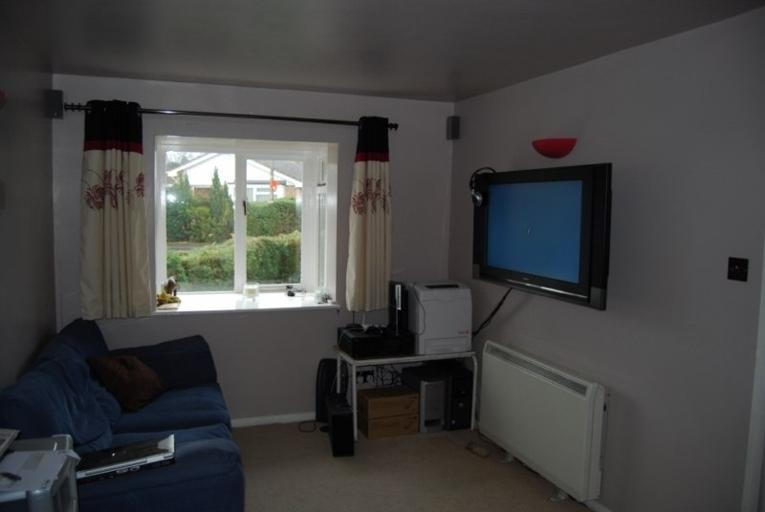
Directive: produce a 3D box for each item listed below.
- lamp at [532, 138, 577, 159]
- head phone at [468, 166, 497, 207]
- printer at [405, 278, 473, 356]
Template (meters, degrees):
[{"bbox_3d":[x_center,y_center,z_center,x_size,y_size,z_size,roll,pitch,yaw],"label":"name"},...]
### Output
[{"bbox_3d":[1.276,-0.800,4.070,0.231,0.142,0.247,-4,7,-34],"label":"lamp"},{"bbox_3d":[0.820,-0.586,4.661,0.156,0.361,0.262,2,8,28],"label":"head phone"},{"bbox_3d":[0.497,0.541,4.803,0.540,0.596,0.215,0,6,-4],"label":"printer"}]
